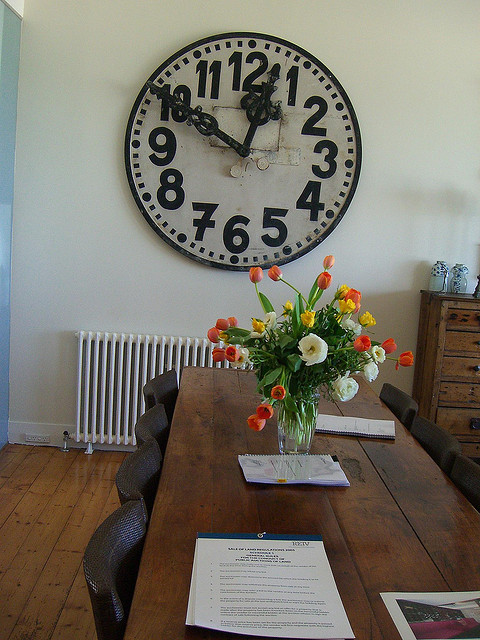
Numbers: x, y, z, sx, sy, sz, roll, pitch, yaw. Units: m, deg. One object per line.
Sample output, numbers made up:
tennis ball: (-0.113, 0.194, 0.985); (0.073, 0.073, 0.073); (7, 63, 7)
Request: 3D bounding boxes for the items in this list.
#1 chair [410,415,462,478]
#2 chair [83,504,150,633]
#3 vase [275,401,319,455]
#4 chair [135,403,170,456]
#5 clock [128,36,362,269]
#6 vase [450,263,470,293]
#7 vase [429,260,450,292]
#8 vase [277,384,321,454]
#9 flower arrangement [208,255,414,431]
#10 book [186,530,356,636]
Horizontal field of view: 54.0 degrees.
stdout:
chair: (0.708, 0.448, 1.712); (0.146, 0.296, 0.153); (0, 10, -9)
chair: (-0.255, 0.543, 0.967); (0.110, 0.239, 0.271); (2, 5, -9)
vase: (0.170, 0.333, 1.390); (0.097, 0.179, 0.113); (-5, -41, 19)
chair: (-0.313, 0.386, 1.706); (0.140, 0.198, 0.142); (2, 0, 3)
clock: (0.020, -1.151, 3.042); (1.400, 1.631, 0.101); (1, 9, -1)
vase: (1.457, -0.279, 3.168); (0.111, 0.193, 0.214); (5, 5, 26)
vase: (1.315, -0.294, 3.160); (0.100, 0.204, 0.090); (5, 5, 23)
vase: (0.167, 0.280, 1.387); (0.114, 0.230, 0.125); (4, -6, 21)
flower arrangement: (0.113, 0.097, 1.371); (0.419, 0.438, 0.448); (11, -26, -34)
book: (0.047, 0.454, 0.844); (0.269, 0.021, 0.301); (4, 5, 0)
